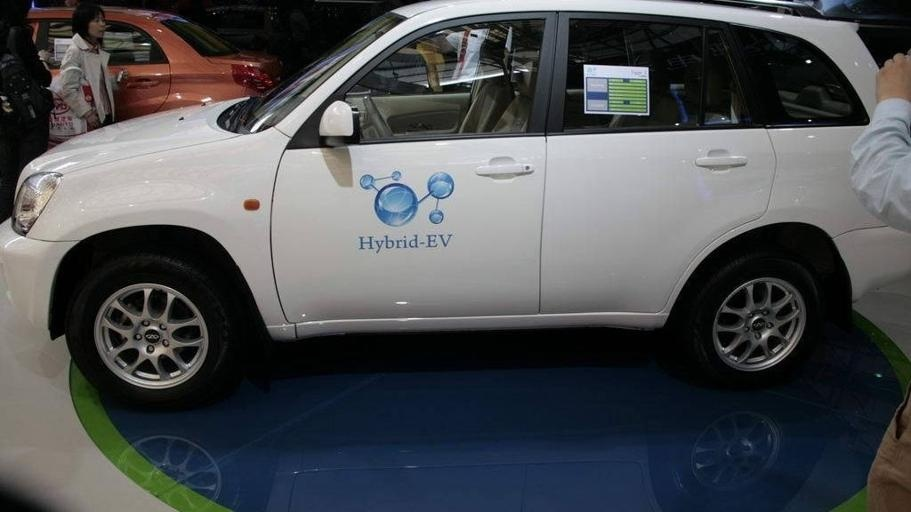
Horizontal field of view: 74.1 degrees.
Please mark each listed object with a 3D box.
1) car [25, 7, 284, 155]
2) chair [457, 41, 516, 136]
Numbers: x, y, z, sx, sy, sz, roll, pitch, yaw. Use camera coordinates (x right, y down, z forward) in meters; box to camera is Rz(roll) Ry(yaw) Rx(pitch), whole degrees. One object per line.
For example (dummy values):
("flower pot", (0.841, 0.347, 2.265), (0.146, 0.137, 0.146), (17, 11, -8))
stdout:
("car", (-3.344, -2.086, 7.368), (2.995, 1.364, 1.447), (4, 26, -2))
("chair", (0.170, -1.113, 4.335), (0.470, 0.581, 0.400), (-6, 21, 0))
